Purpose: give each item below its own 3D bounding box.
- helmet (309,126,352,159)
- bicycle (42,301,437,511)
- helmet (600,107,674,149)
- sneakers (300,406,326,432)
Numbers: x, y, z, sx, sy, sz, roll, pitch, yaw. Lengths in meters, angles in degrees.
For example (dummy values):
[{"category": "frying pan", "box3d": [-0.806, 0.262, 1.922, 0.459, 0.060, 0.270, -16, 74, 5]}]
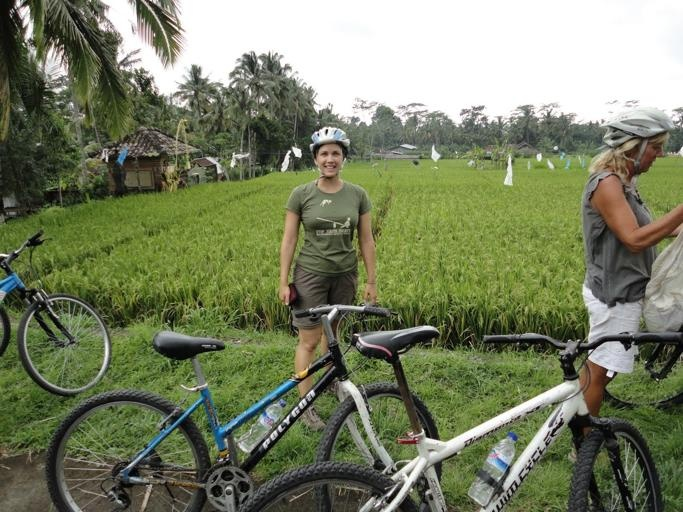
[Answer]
[{"category": "helmet", "box3d": [-0.112, -1.011, 4.517, 0.320, 0.272, 0.587, -1, 11, -4]}, {"category": "bicycle", "box3d": [-0.750, 1.067, 3.778, 2.535, 1.542, 1.373, -2, 5, -5]}, {"category": "helmet", "box3d": [2.252, -0.970, 3.854, 0.483, 0.302, 0.255, 7, 14, 34]}, {"category": "sneakers", "box3d": [-0.274, 1.515, 4.647, 0.126, 0.160, 0.354, 9, -7, -19]}]
